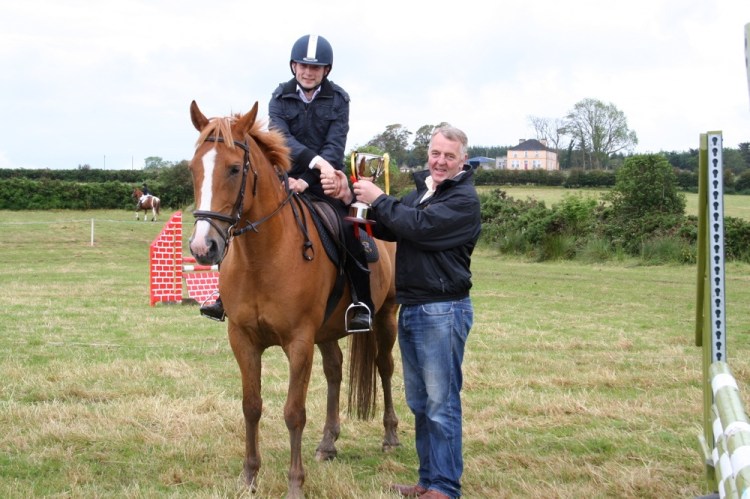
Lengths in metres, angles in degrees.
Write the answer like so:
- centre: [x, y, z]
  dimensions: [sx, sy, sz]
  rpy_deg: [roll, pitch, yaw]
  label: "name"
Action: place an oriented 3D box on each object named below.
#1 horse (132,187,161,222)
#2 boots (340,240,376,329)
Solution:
- centre: [-14.588, -2.778, 47.580]
  dimensions: [2.575, 1.892, 0.620]
  rpy_deg: [10, 10, 30]
  label: "horse"
- centre: [-0.194, 0.467, 9.687]
  dimensions: [0.309, 1.230, 0.373]
  rpy_deg: [-1, 0, -13]
  label: "boots"
